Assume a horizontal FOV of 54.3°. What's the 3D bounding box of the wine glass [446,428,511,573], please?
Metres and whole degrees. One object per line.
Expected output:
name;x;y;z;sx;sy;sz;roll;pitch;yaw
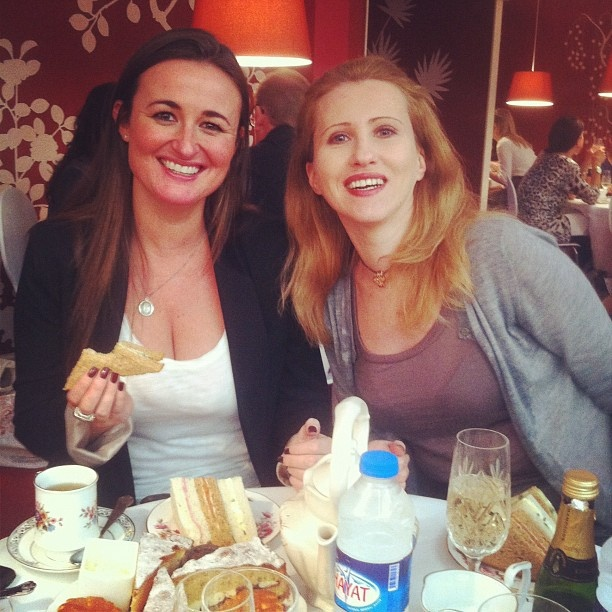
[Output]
wine glass;0.280;0.315;0.966;0.101;0.217;0.160;-2;11;12

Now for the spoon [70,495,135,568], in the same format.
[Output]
spoon;-0.346;0.372;1.004;0.031;0.017;0.151;22;19;0

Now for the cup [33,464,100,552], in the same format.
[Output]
cup;-0.390;0.332;0.975;0.108;0.109;0.108;2;17;-1

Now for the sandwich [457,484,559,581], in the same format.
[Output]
sandwich;0.330;0.362;0.949;0.106;0.070;0.180;18;17;41

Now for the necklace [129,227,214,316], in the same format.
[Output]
necklace;-0.399;-0.094;1.703;0.181;0.230;0.070;10;-1;-6

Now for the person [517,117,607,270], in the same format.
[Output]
person;1.697;-0.666;3.878;0.608;1.040;0.462;-9;19;5
